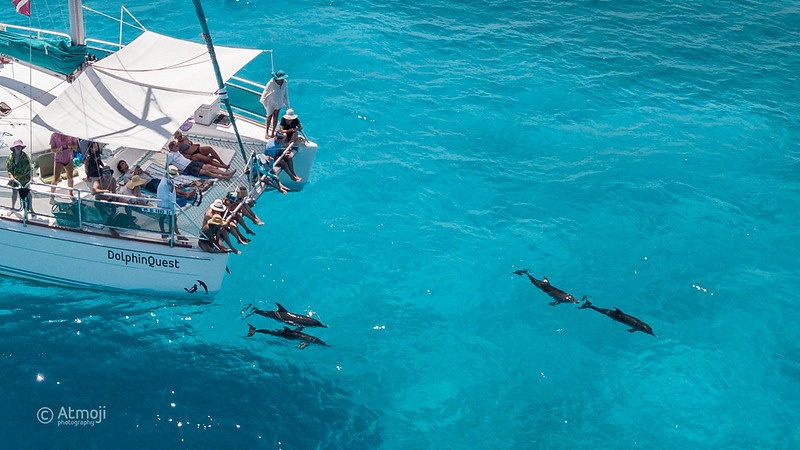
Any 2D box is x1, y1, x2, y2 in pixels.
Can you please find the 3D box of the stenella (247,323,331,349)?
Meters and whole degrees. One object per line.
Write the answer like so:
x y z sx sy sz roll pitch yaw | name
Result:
-4.577 4.575 35.069 3.353 0.758 0.663 11 27 5 | stenella

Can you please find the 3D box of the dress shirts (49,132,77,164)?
-13.762 -3.162 34.895 1.146 1.203 0.673 -7 21 -37 | dress shirts

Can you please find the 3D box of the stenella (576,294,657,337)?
9.442 3.886 36.315 3.291 1.131 1.158 15 27 14 | stenella

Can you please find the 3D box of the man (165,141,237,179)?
-8.413 -2.648 35.953 2.842 1.130 1.079 15 37 11 | man

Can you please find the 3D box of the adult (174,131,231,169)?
-8.236 -3.180 36.335 2.649 1.342 0.852 17 29 -19 | adult

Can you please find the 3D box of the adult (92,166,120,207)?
-11.861 -1.669 34.627 1.012 1.216 1.070 2 1 11 | adult

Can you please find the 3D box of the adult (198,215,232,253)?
-7.507 0.338 34.650 1.152 1.496 0.501 4 29 -12 | adult

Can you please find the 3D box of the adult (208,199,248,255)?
-6.985 0.108 35.038 2.102 1.881 1.168 -21 -7 24 | adult

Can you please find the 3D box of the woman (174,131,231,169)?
-8.546 -2.951 36.566 2.913 1.476 0.981 18 65 -9 | woman

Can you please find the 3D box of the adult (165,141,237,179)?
-8.553 -2.499 36.534 2.933 1.287 1.211 15 64 -7 | adult

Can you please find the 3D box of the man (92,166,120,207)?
-11.919 -1.521 34.617 1.217 1.398 1.188 17 25 10 | man
